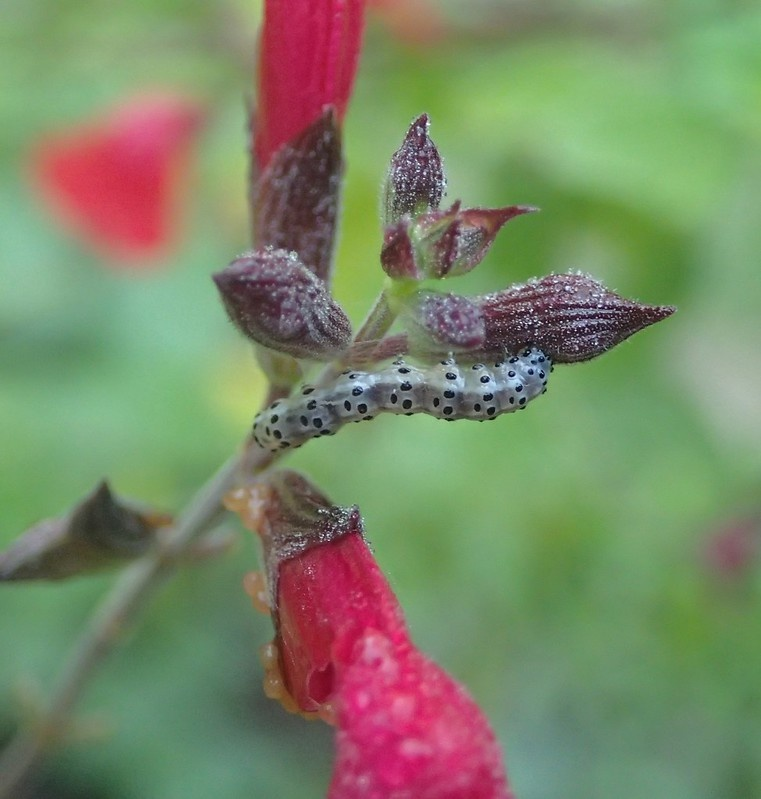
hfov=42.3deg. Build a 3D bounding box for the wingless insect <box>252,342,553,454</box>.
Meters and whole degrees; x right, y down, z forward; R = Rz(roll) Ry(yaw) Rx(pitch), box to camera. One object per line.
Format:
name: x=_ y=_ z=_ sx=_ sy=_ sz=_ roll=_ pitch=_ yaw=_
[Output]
wingless insect: x=0.012 y=0.007 z=0.707 sx=0.244 sy=0.061 sz=0.049 roll=-6 pitch=-18 yaw=21
